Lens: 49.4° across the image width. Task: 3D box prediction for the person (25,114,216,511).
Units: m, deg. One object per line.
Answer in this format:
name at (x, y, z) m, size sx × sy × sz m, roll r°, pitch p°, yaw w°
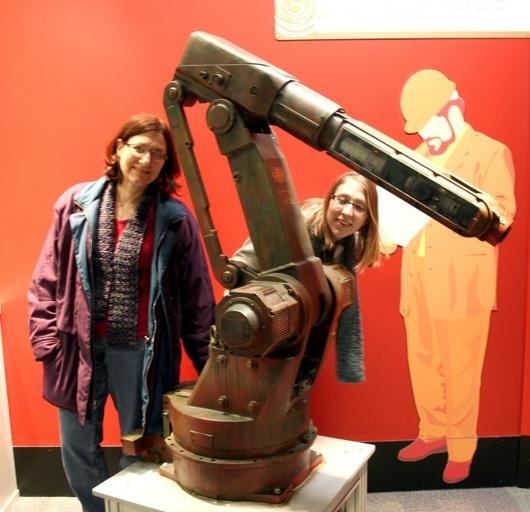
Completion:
person at (-0.522, 0.237, 2.056) m, size 0.682 × 1.449 × 0.356 m, roll 0°, pitch 7°, yaw -5°
